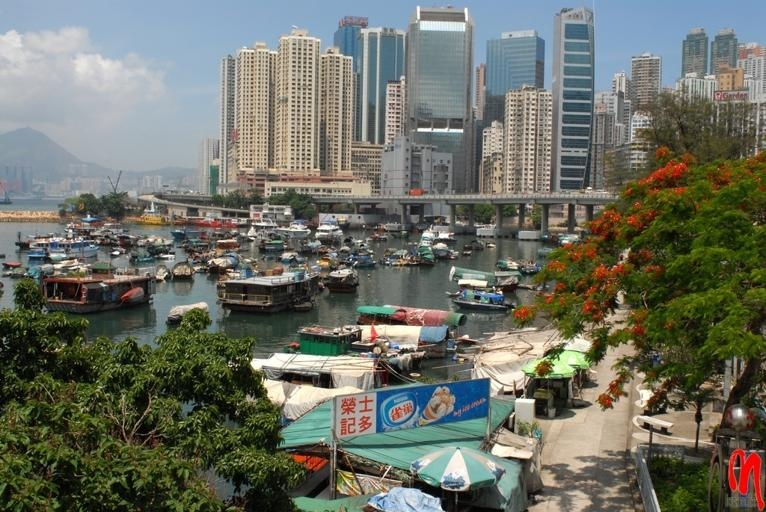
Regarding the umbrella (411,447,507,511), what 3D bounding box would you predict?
[{"bbox_3d":[2.166,6.206,24.280,1.936,1.351,1.856,0,0,-5],"label":"umbrella"}]
